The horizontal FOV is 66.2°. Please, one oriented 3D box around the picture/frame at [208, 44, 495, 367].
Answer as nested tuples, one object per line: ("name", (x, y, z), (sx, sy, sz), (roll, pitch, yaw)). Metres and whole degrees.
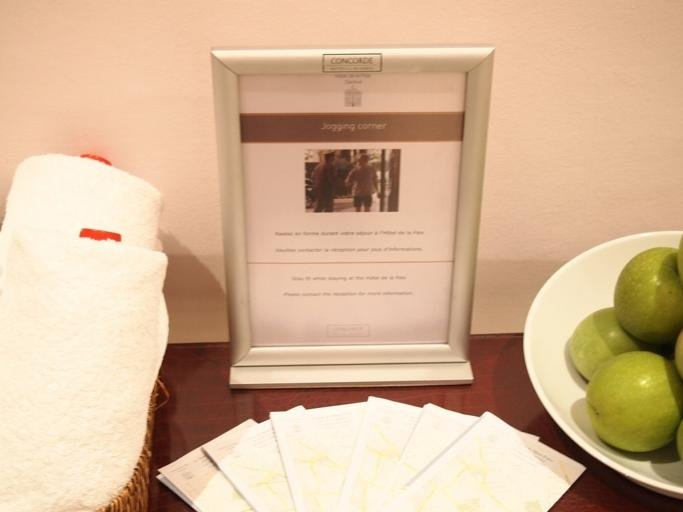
("picture/frame", (0.018, -0.037, 0.687), (0.346, 0.447, 0.177), (0, 28, 8))
